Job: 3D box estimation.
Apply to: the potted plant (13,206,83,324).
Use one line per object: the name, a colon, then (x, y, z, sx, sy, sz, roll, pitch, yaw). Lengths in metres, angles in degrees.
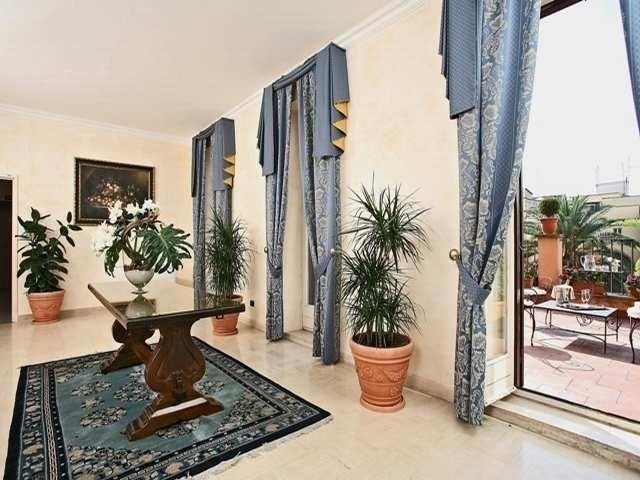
potted plant: (-4.227, 0.371, 6.575, 0.951, 1.728, 0.858, -9, 16, -32)

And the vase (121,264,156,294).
vase: (-1.835, 0.406, 4.225, 0.286, 0.344, 0.291, 4, -6, -25)

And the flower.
flower: (-1.725, -0.001, 4.065, 0.916, 0.641, 0.617, 14, 18, 11)

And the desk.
desk: (-1.669, 1.046, 4.193, 0.975, 0.985, 1.944, -2, 4, -35)

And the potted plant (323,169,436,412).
potted plant: (0.630, 0.594, 3.959, 0.935, 1.988, 0.879, -2, -1, 22)

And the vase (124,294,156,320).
vase: (-1.508, 0.572, 3.508, 0.166, 0.165, 0.173, 0, -5, 17)
